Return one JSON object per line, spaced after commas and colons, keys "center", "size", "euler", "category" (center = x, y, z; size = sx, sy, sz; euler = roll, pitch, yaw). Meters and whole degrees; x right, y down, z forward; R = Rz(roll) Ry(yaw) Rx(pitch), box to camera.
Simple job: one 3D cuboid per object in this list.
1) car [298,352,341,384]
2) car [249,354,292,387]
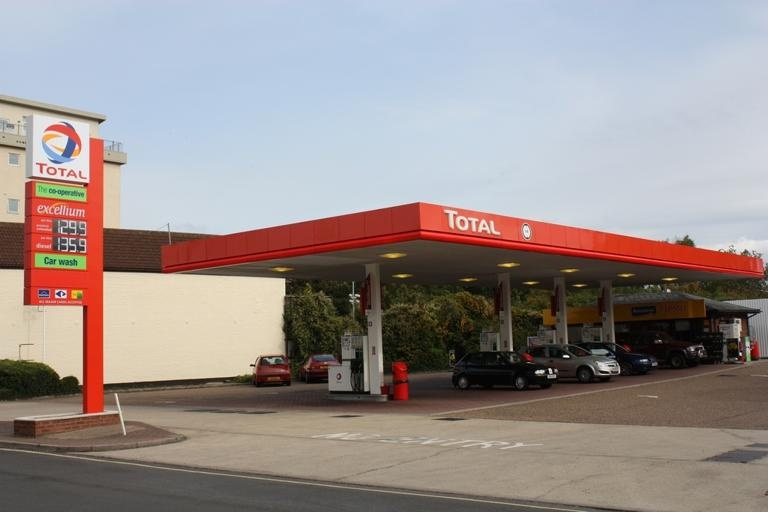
{"center": [-3.646, 6.239, 42.700], "size": [1.369, 1.642, 2.648], "euler": [3, -11, -29], "category": "car"}
{"center": [-6.083, 6.134, 40.624], "size": [2.194, 1.300, 2.972], "euler": [0, -3, -9], "category": "car"}
